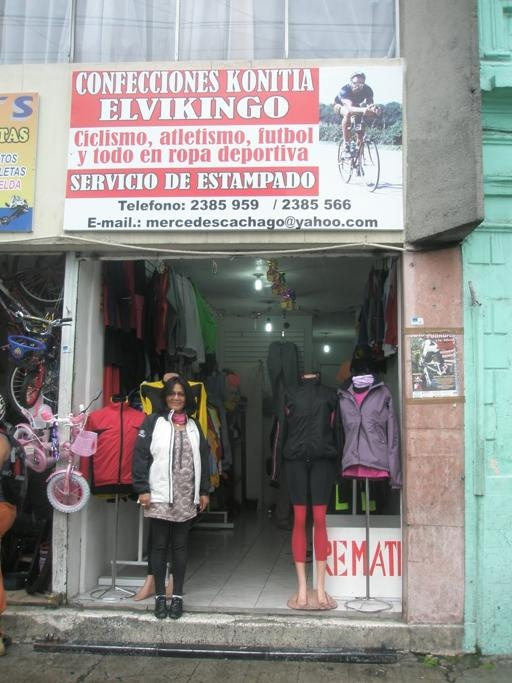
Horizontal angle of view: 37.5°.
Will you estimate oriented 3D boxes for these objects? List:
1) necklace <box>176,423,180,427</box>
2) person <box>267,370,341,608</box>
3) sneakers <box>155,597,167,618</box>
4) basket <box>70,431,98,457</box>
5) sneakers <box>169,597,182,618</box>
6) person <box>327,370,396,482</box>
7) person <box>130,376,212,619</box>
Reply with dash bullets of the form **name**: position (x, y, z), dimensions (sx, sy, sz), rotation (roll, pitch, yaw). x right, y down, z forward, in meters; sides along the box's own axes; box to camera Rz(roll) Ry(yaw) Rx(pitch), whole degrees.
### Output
- **necklace**: position (-0.518, 0.551, 4.976), dimensions (0.021, 0.020, 0.005), rotation (-1, -12, -33)
- **person**: position (0.351, 0.993, 5.148), dimensions (0.462, 1.557, 0.309), rotation (0, -8, 2)
- **sneakers**: position (-0.606, 1.700, 4.809), dimensions (0.085, 0.125, 0.099), rotation (2, -8, -18)
- **basket**: position (-1.132, 0.673, 4.979), dimensions (0.161, 0.129, 0.156), rotation (5, -2, -10)
- **sneakers**: position (-0.513, 1.693, 4.781), dimensions (0.068, 0.116, 0.041), rotation (2, -47, -6)
- **person**: position (0.744, 0.587, 5.019), dimensions (0.416, 0.741, 0.209), rotation (-2, -8, 17)
- **person**: position (-0.558, 1.000, 5.031), dimensions (0.492, 1.566, 0.490), rotation (1, -8, -4)
